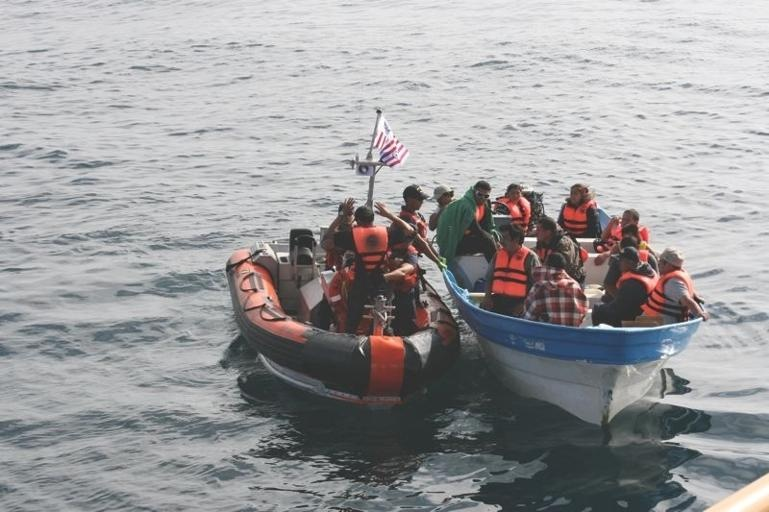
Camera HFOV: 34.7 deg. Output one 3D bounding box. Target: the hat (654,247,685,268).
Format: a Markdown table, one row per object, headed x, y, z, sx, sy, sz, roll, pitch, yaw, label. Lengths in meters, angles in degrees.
| x | y | z | sx | sy | sz | roll | pitch | yaw | label |
| --- | --- | --- | --- | --- | --- | --- | --- | --- | --- |
| 6.995 | -0.002 | 29.934 | 0.539 | 0.442 | 0.506 | 4 | 26 | 2 | hat |

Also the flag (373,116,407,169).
| x | y | z | sx | sy | sz | roll | pitch | yaw | label |
| --- | --- | --- | --- | --- | --- | --- | --- | --- | --- |
| 0.136 | -2.950 | 31.949 | 0.878 | 1.424 | 0.927 | 3 | 29 | 0 | flag |

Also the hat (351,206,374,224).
| x | y | z | sx | sy | sz | roll | pitch | yaw | label |
| --- | --- | --- | --- | --- | --- | --- | --- | --- | --- |
| -0.506 | -1.020 | 30.455 | 0.467 | 0.484 | 0.481 | 1 | 27 | -3 | hat |

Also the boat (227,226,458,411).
| x | y | z | sx | sy | sz | roll | pitch | yaw | label |
| --- | --- | --- | --- | --- | --- | --- | --- | --- | --- |
| -1.208 | 1.281 | 31.616 | 4.554 | 3.326 | 6.171 | -19 | 31 | -38 | boat |

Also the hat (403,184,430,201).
| x | y | z | sx | sy | sz | roll | pitch | yaw | label |
| --- | --- | --- | --- | --- | --- | --- | --- | --- | --- |
| 0.772 | -1.639 | 31.294 | 0.793 | 0.310 | 0.417 | -3 | 14 | 0 | hat |
